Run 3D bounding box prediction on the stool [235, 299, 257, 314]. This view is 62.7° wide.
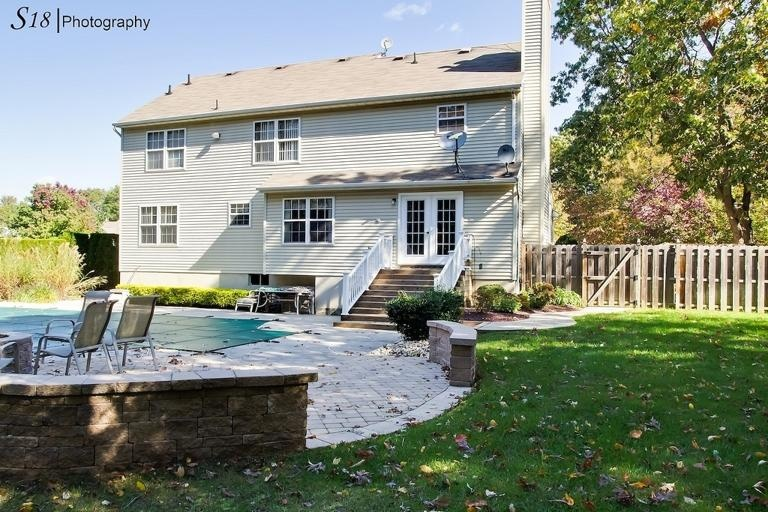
[{"bbox_3d":[-4.939,1.740,22.575,0.676,0.378,0.584,0,-1,14],"label":"stool"}]

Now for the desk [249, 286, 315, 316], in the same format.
[{"bbox_3d":[-3.407,1.664,22.633,1.473,0.467,1.304,1,4,17],"label":"desk"}]
